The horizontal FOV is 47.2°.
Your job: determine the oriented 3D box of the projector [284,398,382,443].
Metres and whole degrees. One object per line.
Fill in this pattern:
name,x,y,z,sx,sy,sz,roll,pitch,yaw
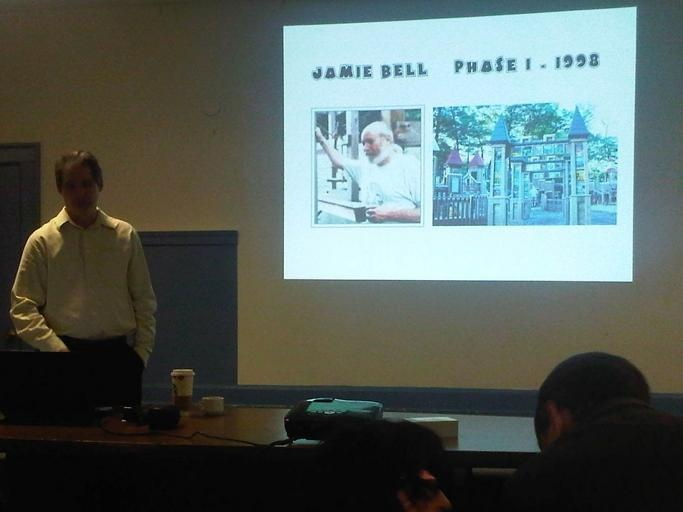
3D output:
projector,-0.037,0.602,2.975,0.309,0.084,0.238,0,0,-3

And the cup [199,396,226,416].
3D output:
cup,-0.543,0.628,3.274,0.089,0.060,0.067,0,-6,-3

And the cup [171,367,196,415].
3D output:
cup,-0.669,0.562,3.276,0.115,0.169,0.112,2,-4,0
